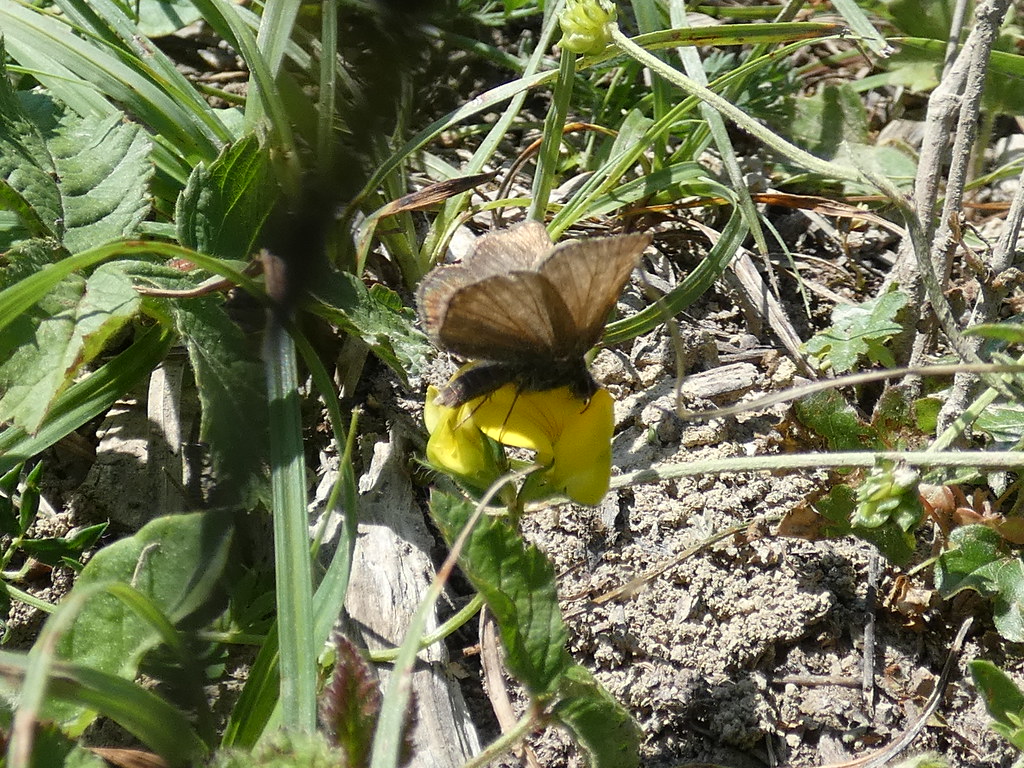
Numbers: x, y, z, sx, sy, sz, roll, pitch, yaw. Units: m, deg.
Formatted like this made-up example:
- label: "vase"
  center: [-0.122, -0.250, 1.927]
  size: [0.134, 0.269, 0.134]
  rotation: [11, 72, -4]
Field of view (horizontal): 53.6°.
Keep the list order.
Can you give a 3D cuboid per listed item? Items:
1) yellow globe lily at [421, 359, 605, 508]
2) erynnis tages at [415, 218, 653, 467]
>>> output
- label: "yellow globe lily"
  center: [0.023, 0.093, 2.465]
  size: [0.323, 0.382, 0.459]
  rotation: [3, 16, 10]
- label: "erynnis tages"
  center: [0.041, -0.147, 2.185]
  size: [0.675, 0.453, 0.450]
  rotation: [-6, 16, -4]
